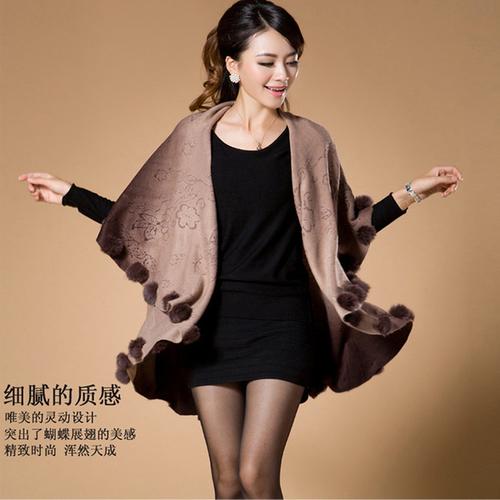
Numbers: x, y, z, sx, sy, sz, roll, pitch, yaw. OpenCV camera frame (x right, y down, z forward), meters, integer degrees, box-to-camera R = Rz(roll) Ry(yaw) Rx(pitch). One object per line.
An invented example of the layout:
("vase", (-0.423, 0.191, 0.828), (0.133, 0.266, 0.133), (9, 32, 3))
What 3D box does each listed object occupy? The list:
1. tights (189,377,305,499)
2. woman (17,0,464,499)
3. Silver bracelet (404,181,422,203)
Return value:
("tights", (-0.001, 0.605, 2.219), (0.351, 0.363, 0.147), (-13, -23, 26))
("woman", (0.039, 0.010, 2.413), (0.996, 1.620, 0.740), (-16, -24, 29))
("Silver bracelet", (0.567, -0.201, 2.406), (0.045, 0.061, 0.057), (-35, -36, -3))
